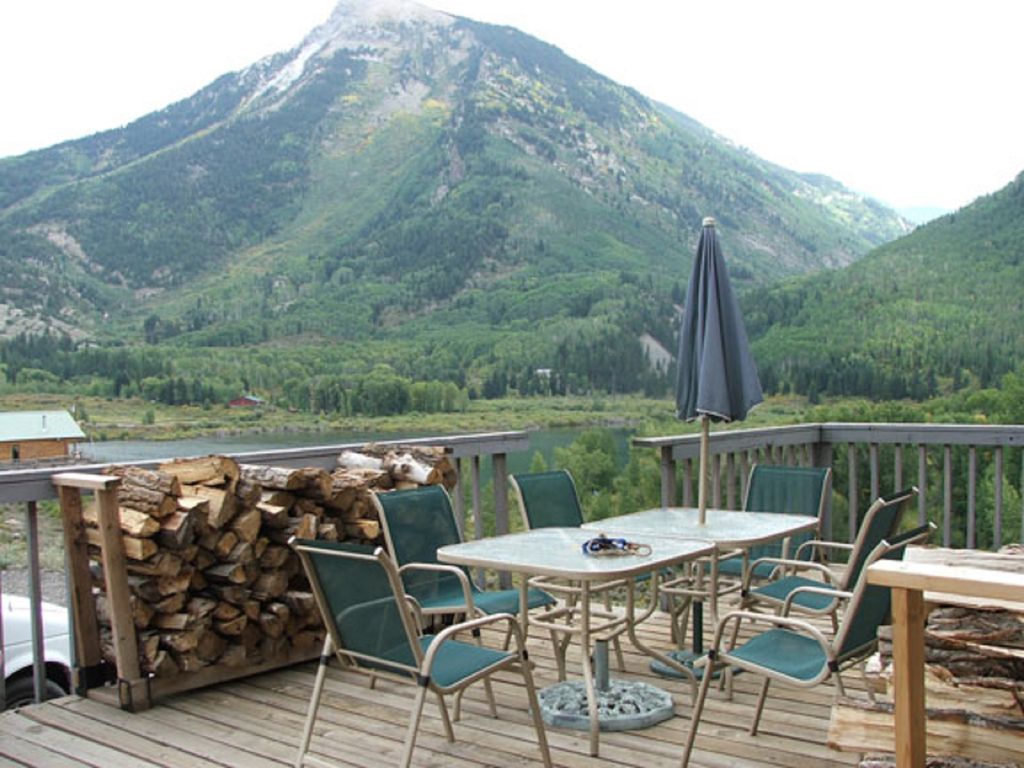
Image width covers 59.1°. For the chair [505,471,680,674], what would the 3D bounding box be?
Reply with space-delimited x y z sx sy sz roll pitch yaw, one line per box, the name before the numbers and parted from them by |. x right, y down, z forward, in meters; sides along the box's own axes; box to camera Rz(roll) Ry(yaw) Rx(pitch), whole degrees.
chair | 0.684 0.877 5.087 0.946 1.333 0.828 -13 -9 36

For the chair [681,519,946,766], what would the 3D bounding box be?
chair | 1.215 0.771 3.873 1.054 1.405 0.953 1 2 30
